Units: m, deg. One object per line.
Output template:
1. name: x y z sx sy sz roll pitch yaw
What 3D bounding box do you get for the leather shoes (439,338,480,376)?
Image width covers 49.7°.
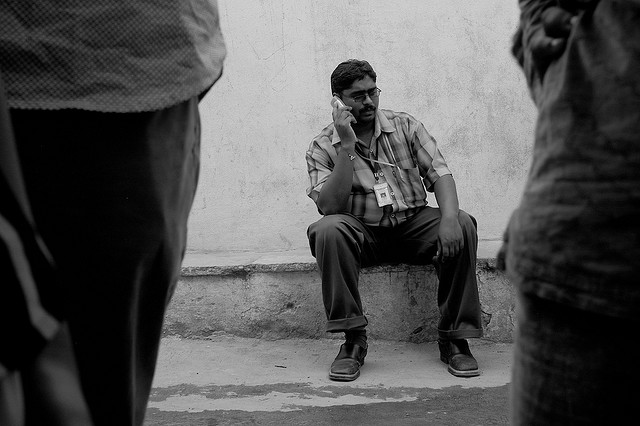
1. leather shoes: 0.623 0.652 3.098 0.082 0.108 0.240 -3 -4 -10

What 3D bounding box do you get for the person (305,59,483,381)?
1. person: 0.342 -0.019 3.287 0.790 1.436 0.668 0 4 -2

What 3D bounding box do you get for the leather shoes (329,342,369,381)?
1. leather shoes: 0.137 0.666 3.076 0.108 0.120 0.301 -1 -8 11
